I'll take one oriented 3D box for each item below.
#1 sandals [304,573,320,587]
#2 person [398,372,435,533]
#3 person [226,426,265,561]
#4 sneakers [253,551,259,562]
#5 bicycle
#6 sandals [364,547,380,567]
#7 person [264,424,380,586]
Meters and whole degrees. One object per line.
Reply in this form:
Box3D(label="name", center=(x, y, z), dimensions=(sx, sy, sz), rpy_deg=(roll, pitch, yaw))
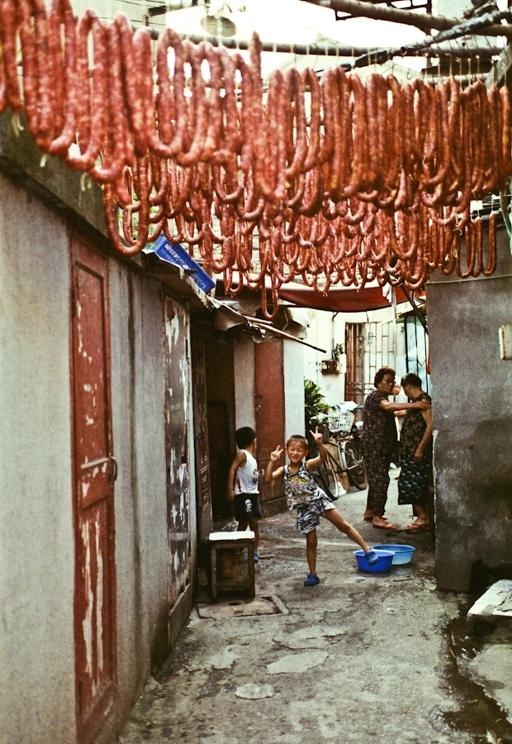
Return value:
Box3D(label="sandals", center=(0.422, 1.596, 5.528), dimensions=(0.121, 0.053, 0.166), rpy_deg=(-3, -2, 2))
Box3D(label="person", center=(1.614, 0.814, 7.375), dimensions=(0.345, 1.220, 0.685), rpy_deg=(-2, -1, 12))
Box3D(label="person", center=(-0.111, 1.102, 6.425), dimensions=(0.281, 1.207, 0.486), rpy_deg=(-1, -1, -2))
Box3D(label="sneakers", center=(-0.005, 1.634, 6.361), dimensions=(0.048, 0.078, 0.170), rpy_deg=(-1, -9, 0))
Box3D(label="bicycle", center=(1.146, 1.211, 10.434), dimensions=(0.703, 1.213, 1.615), rpy_deg=(-16, -9, 34))
Box3D(label="sandals", center=(0.914, 1.468, 5.688), dimensions=(0.100, 0.129, 0.128), rpy_deg=(-1, -17, 0))
Box3D(label="person", center=(0.627, 1.345, 7.216), dimensions=(0.675, 1.394, 0.424), rpy_deg=(-13, -28, -4))
